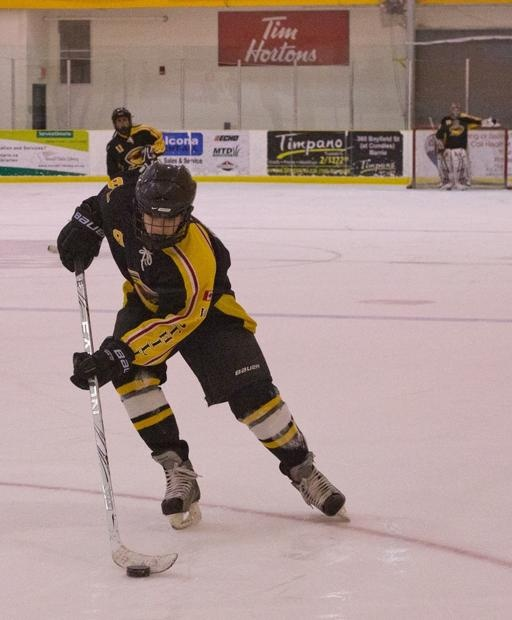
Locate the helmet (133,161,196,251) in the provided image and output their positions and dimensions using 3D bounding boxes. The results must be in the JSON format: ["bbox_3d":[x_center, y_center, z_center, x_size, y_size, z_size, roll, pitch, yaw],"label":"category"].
[{"bbox_3d":[-0.184,-0.219,1.545,0.119,0.172,0.151,-1,13,-5],"label":"helmet"}]

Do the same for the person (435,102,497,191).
[{"bbox_3d":[3.516,-2.869,13.234,0.752,1.453,0.504,3,15,11],"label":"person"}]
